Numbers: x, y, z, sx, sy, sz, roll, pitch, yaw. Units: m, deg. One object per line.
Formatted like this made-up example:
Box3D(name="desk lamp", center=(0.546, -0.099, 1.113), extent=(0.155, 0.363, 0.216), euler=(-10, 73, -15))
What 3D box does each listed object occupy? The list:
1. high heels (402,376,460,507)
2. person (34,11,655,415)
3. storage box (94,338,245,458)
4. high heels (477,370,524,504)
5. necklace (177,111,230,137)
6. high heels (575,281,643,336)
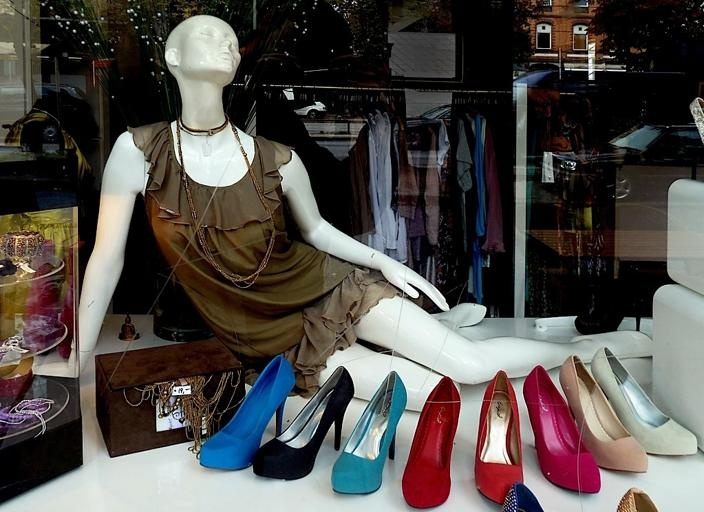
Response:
Box3D(name="high heels", center=(0.251, 0.539, 1.830), extent=(0.120, 0.094, 0.376), euler=(3, 31, 18))
Box3D(name="person", center=(0.041, -0.137, 2.089), extent=(1.882, 1.461, 1.046), euler=(3, 7, 18))
Box3D(name="storage box", center=(-0.625, 0.352, 2.011), extent=(0.418, 0.237, 0.294), euler=(-6, 7, -26))
Box3D(name="high heels", center=(0.443, 0.546, 1.853), extent=(0.118, 0.163, 0.405), euler=(0, 40, 12))
Box3D(name="necklace", center=(-0.501, -0.439, 2.047), extent=(0.176, 0.062, 0.055), euler=(-4, 13, -16))
Box3D(name="high heels", center=(0.769, 0.142, 1.879), extent=(0.161, 0.174, 0.263), euler=(-1, 2, 22))
